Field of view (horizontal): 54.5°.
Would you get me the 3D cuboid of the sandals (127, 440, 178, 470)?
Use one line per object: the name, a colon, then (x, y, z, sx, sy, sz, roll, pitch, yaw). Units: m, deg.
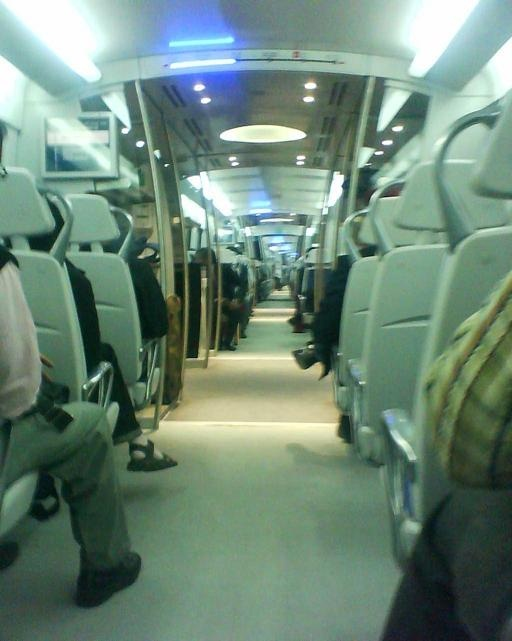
sandals: (-0.490, 0.673, 2.509, 0.286, 0.198, 0.112, 1, -3, -2)
